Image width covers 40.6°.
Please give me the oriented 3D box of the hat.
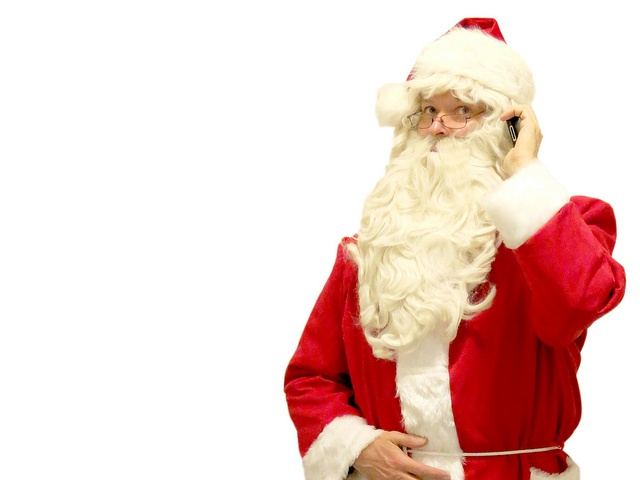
[{"bbox_3d":[0.654,-0.767,4.295,0.771,0.566,0.638,-11,-76,7],"label":"hat"}]
